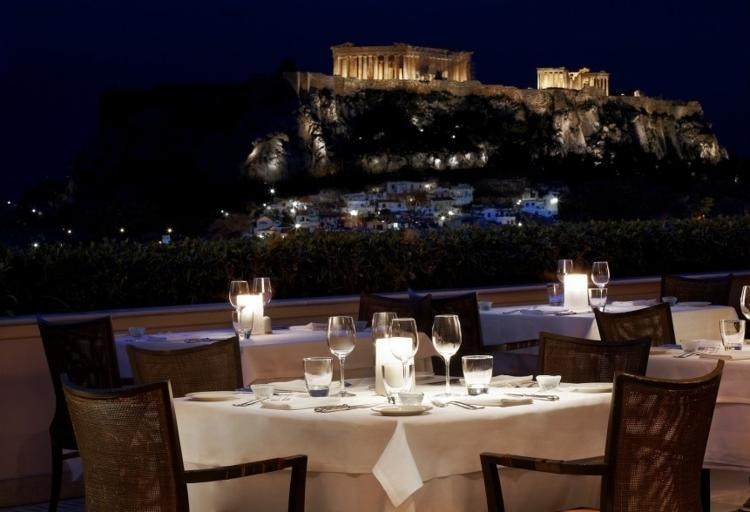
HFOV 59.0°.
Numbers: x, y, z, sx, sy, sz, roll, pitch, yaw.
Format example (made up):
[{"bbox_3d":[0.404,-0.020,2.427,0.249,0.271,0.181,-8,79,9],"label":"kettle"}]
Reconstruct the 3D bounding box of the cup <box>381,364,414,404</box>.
[{"bbox_3d":[0.101,0.569,2.973,0.135,0.190,0.143,0,-1,0],"label":"cup"}]

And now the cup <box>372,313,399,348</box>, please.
[{"bbox_3d":[0.051,0.352,3.090,0.121,0.200,0.124,0,-2,0],"label":"cup"}]

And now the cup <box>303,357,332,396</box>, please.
[{"bbox_3d":[-0.253,0.537,2.996,0.138,0.186,0.142,-2,-3,0],"label":"cup"}]

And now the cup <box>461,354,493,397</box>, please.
[{"bbox_3d":[0.471,0.531,2.979,0.150,0.198,0.148,-2,-2,0],"label":"cup"}]

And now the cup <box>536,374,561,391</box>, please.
[{"bbox_3d":[0.810,0.581,3.094,0.075,0.059,0.081,-2,1,0],"label":"cup"}]

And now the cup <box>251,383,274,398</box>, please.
[{"bbox_3d":[-0.516,0.612,3.059,0.065,0.045,0.068,1,-1,0],"label":"cup"}]

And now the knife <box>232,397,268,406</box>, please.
[{"bbox_3d":[-0.568,0.655,2.957,0.042,0.014,0.157,4,4,18],"label":"knife"}]
